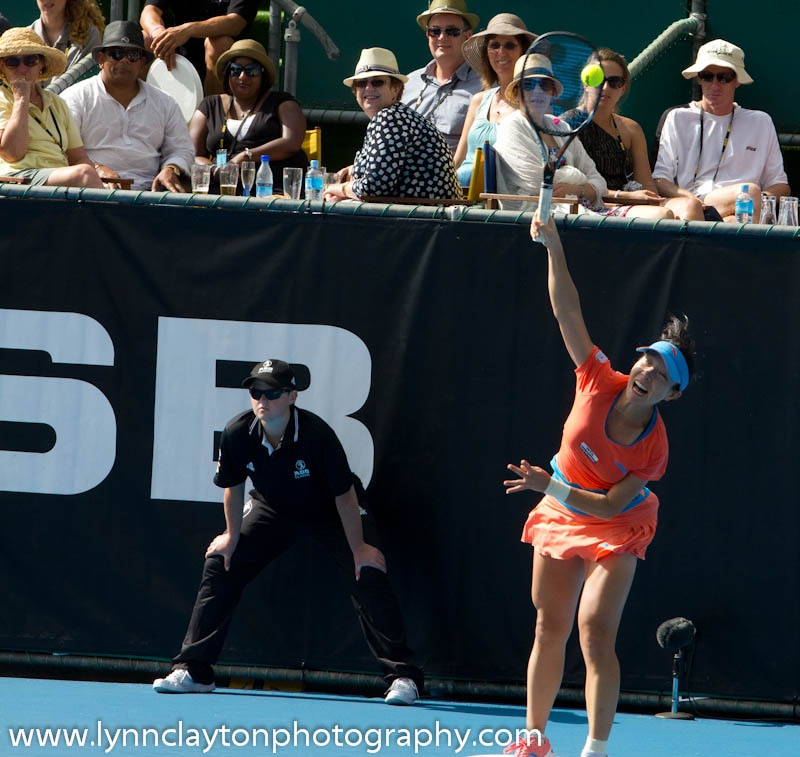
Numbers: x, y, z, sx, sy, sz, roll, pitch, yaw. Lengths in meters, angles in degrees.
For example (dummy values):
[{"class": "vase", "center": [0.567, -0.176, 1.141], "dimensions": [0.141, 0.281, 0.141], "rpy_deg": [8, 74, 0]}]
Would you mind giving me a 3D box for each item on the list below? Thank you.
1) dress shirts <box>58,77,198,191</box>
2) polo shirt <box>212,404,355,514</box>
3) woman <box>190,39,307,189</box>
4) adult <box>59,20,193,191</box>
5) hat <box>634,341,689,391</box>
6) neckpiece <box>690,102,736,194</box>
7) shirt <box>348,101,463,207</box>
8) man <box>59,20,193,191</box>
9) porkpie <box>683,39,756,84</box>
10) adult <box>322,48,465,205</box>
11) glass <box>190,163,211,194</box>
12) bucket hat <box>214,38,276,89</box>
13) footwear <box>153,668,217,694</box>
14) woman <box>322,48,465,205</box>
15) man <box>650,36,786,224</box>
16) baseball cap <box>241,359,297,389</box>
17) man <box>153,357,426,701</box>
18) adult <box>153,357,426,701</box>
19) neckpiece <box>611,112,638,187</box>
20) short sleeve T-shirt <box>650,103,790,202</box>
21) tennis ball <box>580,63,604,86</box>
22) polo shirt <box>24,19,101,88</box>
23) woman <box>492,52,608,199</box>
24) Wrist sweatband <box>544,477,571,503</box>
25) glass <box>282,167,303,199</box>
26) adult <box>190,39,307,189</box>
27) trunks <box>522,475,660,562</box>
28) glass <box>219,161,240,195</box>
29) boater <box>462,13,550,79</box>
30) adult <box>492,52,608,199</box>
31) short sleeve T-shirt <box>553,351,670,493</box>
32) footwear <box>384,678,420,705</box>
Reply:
[{"class": "dress shirts", "center": [-1.823, -1.551, 10.239], "dimensions": [0.863, 0.805, 0.523], "rpy_deg": [-3, 1, -19]}, {"class": "polo shirt", "center": [-0.625, 0.375, 7.842], "dimensions": [0.633, 0.622, 0.345], "rpy_deg": [2, 30, 0]}, {"class": "woman", "center": [-0.989, -1.841, 10.670], "dimensions": [0.871, 1.428, 0.918], "rpy_deg": [1, 6, 7]}, {"class": "adult", "center": [-1.814, -1.698, 10.148], "dimensions": [0.754, 1.210, 0.724], "rpy_deg": [3, 32, -5]}, {"class": "hat", "center": [1.208, -0.055, 6.969], "dimensions": [0.230, 0.216, 0.188], "rpy_deg": [4, 12, 20]}, {"class": "neckpiece", "center": [2.161, -1.520, 10.504], "dimensions": [0.264, 0.507, 0.200], "rpy_deg": [3, 11, 16]}, {"class": "shirt", "center": [0.038, -1.227, 8.558], "dimensions": [0.472, 0.479, 0.518], "rpy_deg": [13, 18, 18]}, {"class": "man", "center": [-1.808, -1.689, 10.140], "dimensions": [0.723, 1.186, 0.703], "rpy_deg": [1, 20, -2]}, {"class": "porkpie", "center": [2.225, -2.050, 10.426], "dimensions": [0.320, 0.259, 0.437], "rpy_deg": [4, -6, 34]}, {"class": "adult", "center": [-0.075, -1.335, 8.715], "dimensions": [0.746, 0.997, 0.617], "rpy_deg": [1, -8, -23]}, {"class": "glass", "center": [-1.142, -1.106, 8.895], "dimensions": [0.099, 0.155, 0.448], "rpy_deg": [-2, 12, -9]}, {"class": "bucket hat", "center": [-1.088, -2.106, 10.647], "dimensions": [0.365, 0.197, 0.491], "rpy_deg": [0, -31, -1]}, {"class": "footwear", "center": [-1.093, 1.494, 7.814], "dimensions": [0.318, 0.177, 0.117], "rpy_deg": [10, -12, -11]}, {"class": "woman", "center": [-0.044, -1.328, 8.727], "dimensions": [0.693, 0.972, 0.625], "rpy_deg": [-5, -12, -5]}, {"class": "man", "center": [2.164, -1.602, 10.357], "dimensions": [0.794, 1.283, 0.818], "rpy_deg": [8, 11, 37]}, {"class": "baseball cap", "center": [-0.643, -0.020, 7.599], "dimensions": [0.231, 0.141, 0.237], "rpy_deg": [5, 13, 24]}, {"class": "man", "center": [-0.539, 0.678, 7.887], "dimensions": [1.170, 1.734, 0.855], "rpy_deg": [-5, -10, 21]}, {"class": "adult", "center": [-0.552, 0.737, 7.820], "dimensions": [1.194, 1.817, 0.860], "rpy_deg": [-1, 15, -1]}, {"class": "neckpiece", "center": [1.517, -1.452, 10.207], "dimensions": [0.254, 0.431, 0.100], "rpy_deg": [-6, -4, 0]}, {"class": "short sleeve T-shirt", "center": [2.224, -1.472, 10.589], "dimensions": [0.893, 0.868, 0.568], "rpy_deg": [3, -15, 11]}, {"class": "tennis ball", "center": [0.888, -1.348, 7.010], "dimensions": [0.080, 0.110, 0.087], "rpy_deg": [6, 22, -2]}, {"class": "polo shirt", "center": [-2.414, -2.255, 11.380], "dimensions": [0.259, 0.482, 0.524], "rpy_deg": [-10, -7, 9]}, {"class": "woman", "center": [0.794, -1.269, 8.130], "dimensions": [0.554, 1.259, 0.272], "rpy_deg": [0, 2, 15]}, {"class": "Wrist sweatband", "center": [0.727, 0.486, 6.928], "dimensions": [0.109, 0.097, 0.092], "rpy_deg": [23, 11, 29]}, {"class": "glass", "center": [-0.599, -1.070, 8.688], "dimensions": [0.094, 0.163, 0.252], "rpy_deg": [-2, 12, -6]}, {"class": "adult", "center": [-0.989, -1.846, 10.769], "dimensions": [0.871, 1.428, 0.918], "rpy_deg": [1, 6, 7]}, {"class": "trunks", "center": [0.878, 0.676, 6.991], "dimensions": [0.483, 0.387, 0.296], "rpy_deg": [11, -21, 23]}, {"class": "glass", "center": [-0.962, -1.094, 8.718], "dimensions": [0.091, 0.154, 0.516], "rpy_deg": [-2, 12, -8]}, {"class": "boater", "center": [0.649, -2.155, 10.144], "dimensions": [0.392, 0.239, 0.461], "rpy_deg": [4, -27, -13]}, {"class": "adult", "center": [0.794, -1.269, 8.130], "dimensions": [0.554, 1.259, 0.272], "rpy_deg": [0, 2, 15]}, {"class": "short sleeve T-shirt", "center": [1.012, 0.205, 7.087], "dimensions": [0.415, 0.439, 0.222], "rpy_deg": [38, 19, 7]}, {"class": "footwear", "center": [0.030, 1.527, 7.782], "dimensions": [0.182, 0.145, 0.130], "rpy_deg": [-4, 12, -16]}]
